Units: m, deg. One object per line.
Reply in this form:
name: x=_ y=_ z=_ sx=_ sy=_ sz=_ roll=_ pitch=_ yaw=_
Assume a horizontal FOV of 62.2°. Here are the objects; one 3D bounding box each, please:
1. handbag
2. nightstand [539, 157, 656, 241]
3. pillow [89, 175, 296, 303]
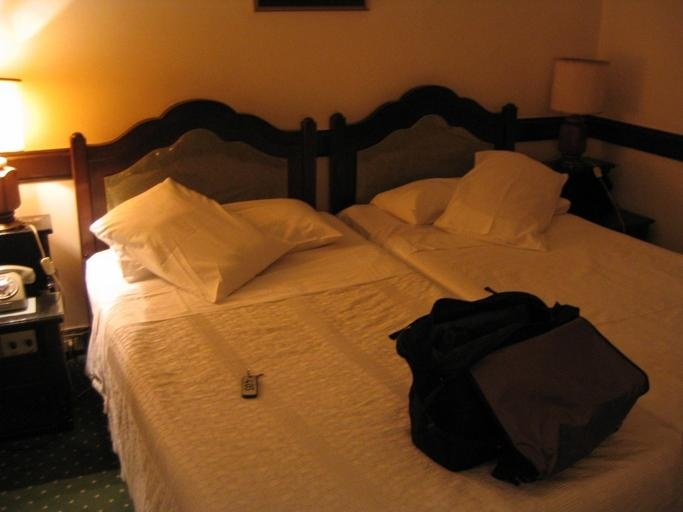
handbag: x=0.601 y=0.435 z=1.877 sx=0.752 sy=0.416 sz=0.440 roll=-8 pitch=23 yaw=-19
nightstand: x=1.668 y=-0.367 z=3.687 sx=0.272 sy=0.404 sz=0.423 roll=-27 pitch=40 yaw=-28
pillow: x=-0.736 y=-0.079 z=2.723 sx=0.744 sy=0.173 sz=0.572 roll=35 pitch=48 yaw=19
